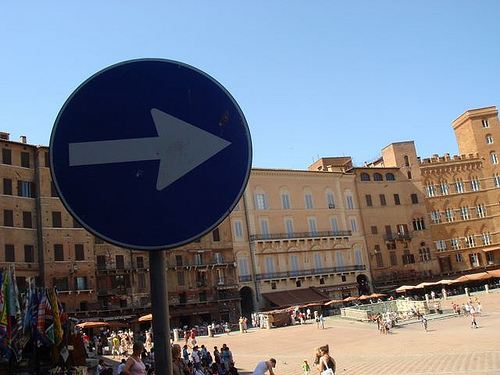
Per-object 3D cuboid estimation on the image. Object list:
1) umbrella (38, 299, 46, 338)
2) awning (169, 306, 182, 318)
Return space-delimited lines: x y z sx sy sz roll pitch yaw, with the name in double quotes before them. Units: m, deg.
"umbrella" -4.758 2.980 10.983 0.165 0.802 0.403 -3 -13 -23
"awning" -7.618 12.675 49.185 1.161 1.229 1.787 -5 -12 -11
